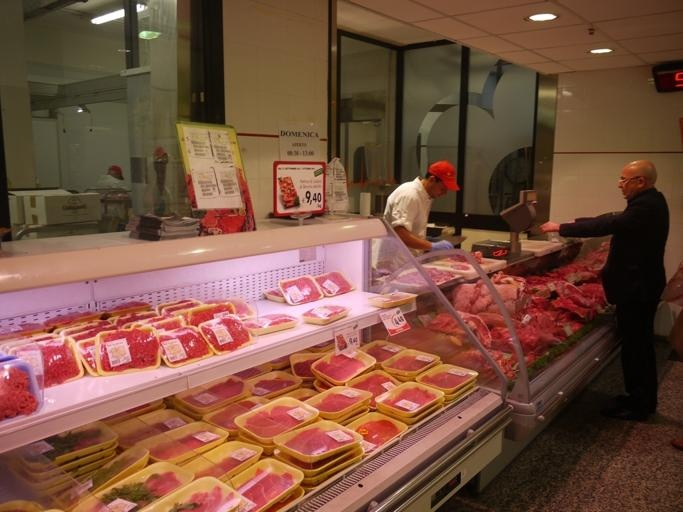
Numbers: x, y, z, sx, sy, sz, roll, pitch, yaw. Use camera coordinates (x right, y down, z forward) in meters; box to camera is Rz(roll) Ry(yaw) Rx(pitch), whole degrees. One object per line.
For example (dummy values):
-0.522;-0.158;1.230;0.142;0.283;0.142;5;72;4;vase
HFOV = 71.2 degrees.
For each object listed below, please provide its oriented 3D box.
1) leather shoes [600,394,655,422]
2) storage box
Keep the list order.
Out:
2.420;1.311;4.009;0.363;0.139;0.203;5;9;30;leather shoes
-2.076;-0.308;3.440;0.443;0.267;0.452;9;13;39;storage box
